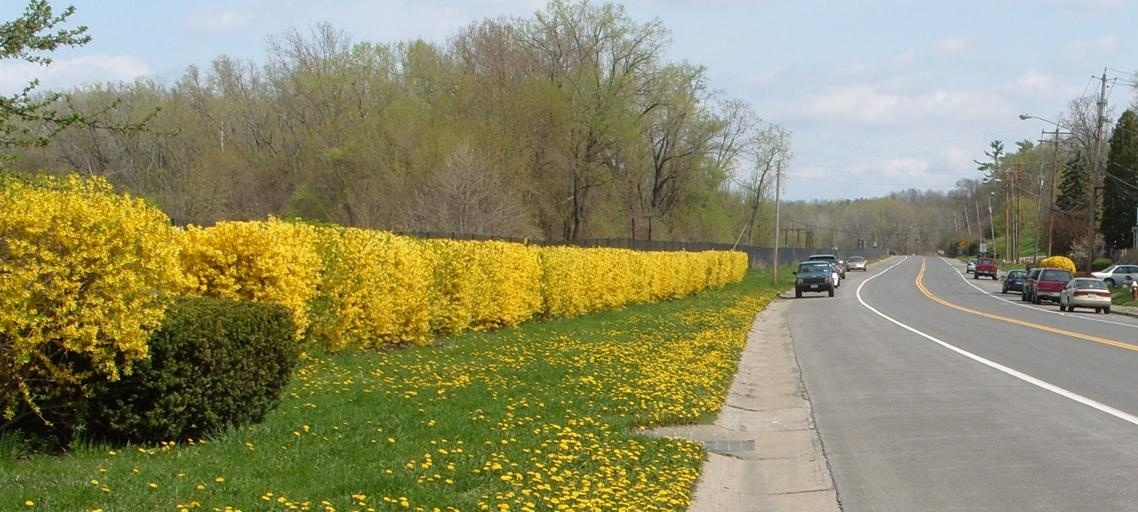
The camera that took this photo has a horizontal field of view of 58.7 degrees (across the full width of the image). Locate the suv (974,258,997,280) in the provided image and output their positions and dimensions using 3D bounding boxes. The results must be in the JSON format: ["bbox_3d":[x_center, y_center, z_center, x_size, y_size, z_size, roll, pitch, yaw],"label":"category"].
[{"bbox_3d":[43.481,1.219,105.809,1.809,1.348,3.167,3,9,24],"label":"suv"}]
